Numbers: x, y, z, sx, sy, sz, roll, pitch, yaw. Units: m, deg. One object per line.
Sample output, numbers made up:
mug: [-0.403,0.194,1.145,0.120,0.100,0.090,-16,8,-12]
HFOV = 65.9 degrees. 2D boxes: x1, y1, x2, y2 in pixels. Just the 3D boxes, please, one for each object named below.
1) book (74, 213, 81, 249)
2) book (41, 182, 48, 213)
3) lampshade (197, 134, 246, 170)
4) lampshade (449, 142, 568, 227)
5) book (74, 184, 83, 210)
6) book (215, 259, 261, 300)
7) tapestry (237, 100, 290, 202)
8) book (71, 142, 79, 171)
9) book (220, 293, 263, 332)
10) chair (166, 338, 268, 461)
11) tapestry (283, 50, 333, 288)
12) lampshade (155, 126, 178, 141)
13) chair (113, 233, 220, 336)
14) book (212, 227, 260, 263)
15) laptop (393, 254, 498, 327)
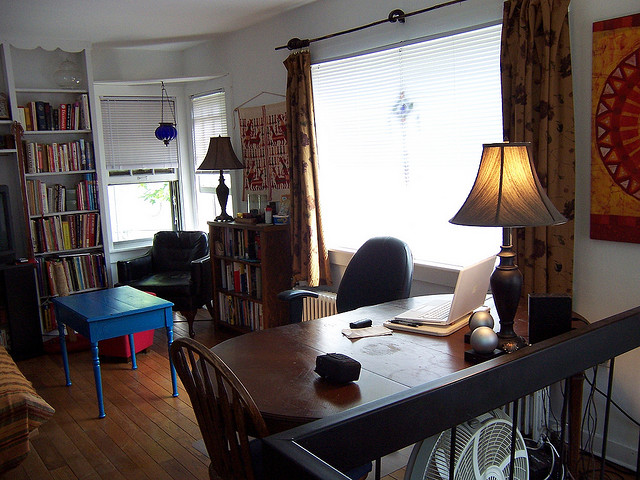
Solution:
book: [-2.517,-0.098,5.110,0.044,0.404,0.309,-3,8,-20]
book: [-2.757,-0.420,4.942,0.024,0.292,0.058,5,13,30]
lampshade: [-1.005,-0.870,4.948,0.360,0.248,0.359,-7,12,-31]
lampshade: [0.833,-0.217,2.248,0.404,0.391,0.409,-2,8,7]
book: [-2.505,-0.443,5.114,0.038,0.273,0.237,-5,8,-16]
book: [-0.794,0.359,4.827,0.388,0.139,0.419,-6,10,-40]
tapestry: [-0.536,-0.891,4.850,0.059,1.050,1.045,-12,12,-41]
book: [-2.516,-0.857,5.064,0.046,0.322,0.244,-4,9,-27]
book: [-0.756,0.690,4.819,0.405,0.220,0.120,12,15,43]
chair: [-0.406,0.646,1.898,0.255,0.528,0.658,-6,12,-22]
tapestry: [-0.155,-0.584,4.255,0.294,1.996,0.482,-8,13,-28]
lampshade: [-1.708,-1.177,5.453,0.165,0.112,0.166,-3,1,4]
chair: [-1.581,0.460,5.294,1.069,0.954,0.899,-1,11,1]
book: [-0.797,0.036,4.778,0.351,0.343,0.181,0,4,42]
laptop: [0.677,0.250,2.607,0.520,0.301,0.436,-7,7,-40]
